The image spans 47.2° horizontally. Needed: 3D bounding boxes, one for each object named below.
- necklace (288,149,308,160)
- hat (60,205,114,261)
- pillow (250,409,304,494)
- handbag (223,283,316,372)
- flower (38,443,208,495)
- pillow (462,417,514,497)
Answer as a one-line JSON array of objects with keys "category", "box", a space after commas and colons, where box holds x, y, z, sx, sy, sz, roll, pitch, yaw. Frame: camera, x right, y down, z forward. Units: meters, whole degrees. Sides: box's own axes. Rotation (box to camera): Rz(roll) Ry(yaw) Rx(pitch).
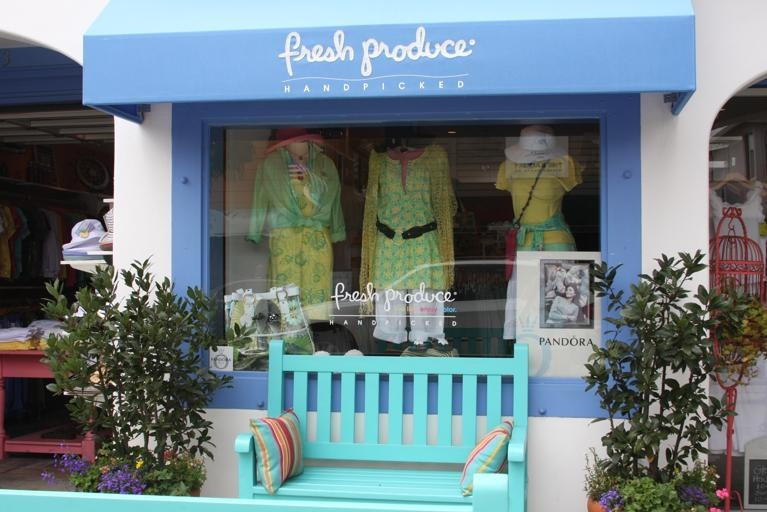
[{"category": "necklace", "box": [-0.650, -0.787, 6.739, 0.096, 0.060, 0.105, 0, 4, 2]}, {"category": "hat", "box": [-2.484, -0.205, 7.349, 0.371, 0.189, 0.518, -6, 8, 1]}, {"category": "pillow", "box": [-0.745, 1.368, 6.097, 0.119, 0.366, 0.346, -14, -36, 31]}, {"category": "handbag", "box": [-0.872, 0.563, 6.659, 0.568, 0.572, 0.233, -5, -5, 2]}, {"category": "flower", "box": [-1.771, 1.519, 6.206, 0.994, 0.343, 0.442, 1, -4, -10]}, {"category": "pillow", "box": [0.703, 1.307, 6.102, 0.358, 0.595, 0.672, 4, -9, 14]}]
